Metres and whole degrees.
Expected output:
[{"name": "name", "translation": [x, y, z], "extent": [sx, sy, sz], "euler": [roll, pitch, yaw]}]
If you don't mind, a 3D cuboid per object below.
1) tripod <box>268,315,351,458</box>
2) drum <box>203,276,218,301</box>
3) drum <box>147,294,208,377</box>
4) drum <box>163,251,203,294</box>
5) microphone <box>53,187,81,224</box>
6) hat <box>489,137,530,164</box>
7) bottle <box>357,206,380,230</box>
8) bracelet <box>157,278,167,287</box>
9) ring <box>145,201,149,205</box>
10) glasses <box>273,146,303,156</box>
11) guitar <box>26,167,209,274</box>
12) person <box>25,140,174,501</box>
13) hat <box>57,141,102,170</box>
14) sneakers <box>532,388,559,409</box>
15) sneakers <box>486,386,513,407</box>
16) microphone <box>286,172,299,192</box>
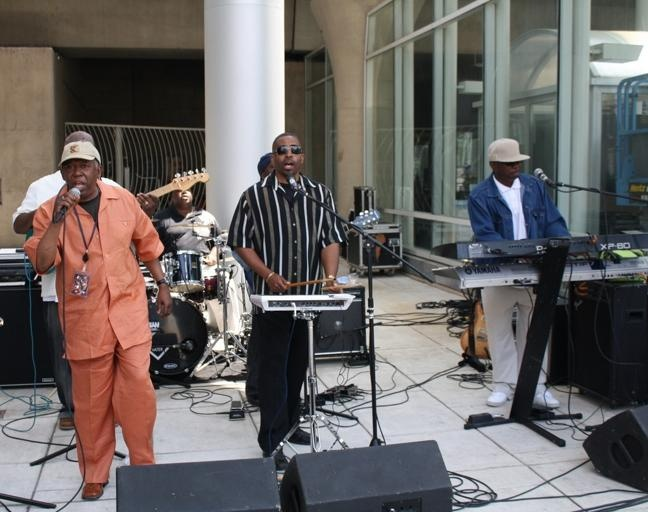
[{"name": "tripod", "translation": [-0.138, 0.777, 5.166], "extent": [0.518, 1.064, 1.008], "euler": [0, 10, 1]}, {"name": "drum", "translation": [-0.954, 0.263, 6.805], "extent": [0.143, 0.178, 0.149], "euler": [-2, 6, -23]}, {"name": "drum", "translation": [-1.320, 0.733, 6.918], "extent": [0.628, 0.721, 0.698], "euler": [-3, -24, -15]}, {"name": "drum", "translation": [-1.125, 0.131, 6.532], "extent": [0.289, 0.313, 0.313], "euler": [-7, -17, -4]}, {"name": "microphone", "translation": [-1.416, -0.256, 4.486], "extent": [0.084, 0.246, 0.071], "euler": [36, -28, -18]}, {"name": "hat", "translation": [1.293, -0.757, 5.795], "extent": [0.240, 0.140, 0.179], "euler": [6, 17, 29]}, {"name": "bottle", "translation": [0.216, -0.219, 4.796], "extent": [0.174, 0.091, 0.066], "euler": [-18, 12, 40]}, {"name": "bracelet", "translation": [-1.018, 0.160, 5.086], "extent": [0.040, 0.045, 0.018], "euler": [5, 42, -8]}, {"name": "ring", "translation": [-1.194, -0.354, 5.464], "extent": [0.019, 0.016, 0.006], "euler": [-10, -17, -13]}, {"name": "glasses", "translation": [-0.234, -0.652, 5.004], "extent": [0.175, 0.060, 0.115], "euler": [0, 11, -1]}, {"name": "guitar", "translation": [-1.378, -0.379, 5.818], "extent": [1.412, 0.154, 0.532], "euler": [-39, 43, -27]}, {"name": "person", "translation": [-1.312, 0.379, 4.795], "extent": [0.804, 2.086, 0.556], "euler": [-2, 10, -13]}, {"name": "hat", "translation": [-1.430, -0.606, 4.765], "extent": [0.216, 0.141, 0.305], "euler": [-4, 11, -20]}, {"name": "sneakers", "translation": [1.586, 1.042, 5.972], "extent": [0.191, 0.150, 0.127], "euler": [-1, 2, 12]}, {"name": "sneakers", "translation": [1.282, 1.055, 6.109], "extent": [0.091, 0.121, 0.268], "euler": [0, -2, 31]}, {"name": "microphone", "translation": [-0.189, -0.432, 4.849], "extent": [0.045, 0.058, 0.183], "euler": [-31, 26, 0]}]
